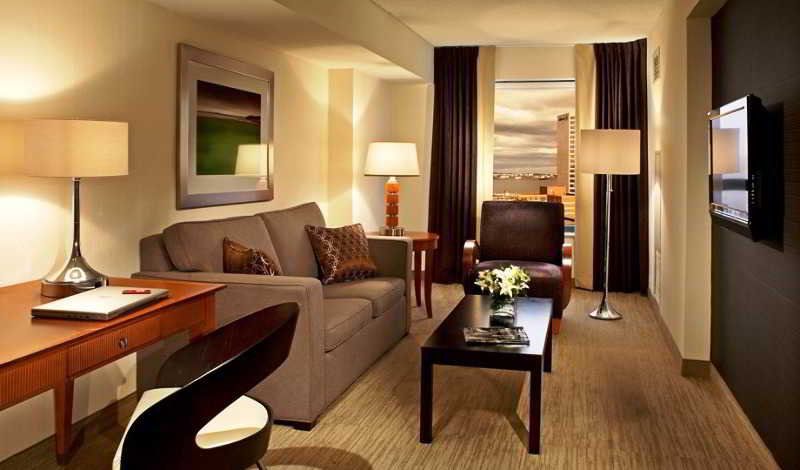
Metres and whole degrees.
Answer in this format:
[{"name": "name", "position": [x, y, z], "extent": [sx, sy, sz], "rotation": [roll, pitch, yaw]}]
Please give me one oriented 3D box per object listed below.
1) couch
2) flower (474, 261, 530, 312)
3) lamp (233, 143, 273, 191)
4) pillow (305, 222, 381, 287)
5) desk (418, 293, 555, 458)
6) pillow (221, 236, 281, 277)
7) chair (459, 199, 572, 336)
[{"name": "couch", "position": [-0.899, 0.556, 5.025], "extent": [1.420, 1.480, 2.709], "rotation": [-1, 5, 17]}, {"name": "flower", "position": [0.838, 0.443, 4.192], "extent": [0.387, 0.318, 0.405], "rotation": [1, 5, 35]}, {"name": "lamp", "position": [-1.409, -0.694, 5.161], "extent": [0.329, 0.393, 0.389], "rotation": [-1, 5, -32]}, {"name": "pillow", "position": [-0.549, 0.184, 5.051], "extent": [0.614, 0.573, 0.183], "rotation": [-8, -19, -43]}, {"name": "desk", "position": [0.709, 1.149, 4.324], "extent": [0.847, 0.649, 1.625], "rotation": [1, -3, 15]}, {"name": "pillow", "position": [-1.141, 0.189, 4.105], "extent": [0.346, 0.295, 0.104], "rotation": [13, -40, -44]}, {"name": "chair", "position": [1.315, 0.311, 5.839], "extent": [1.116, 1.288, 0.986], "rotation": [3, 9, 20]}]
